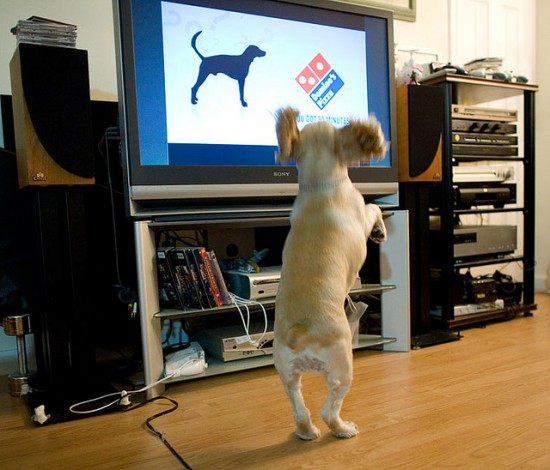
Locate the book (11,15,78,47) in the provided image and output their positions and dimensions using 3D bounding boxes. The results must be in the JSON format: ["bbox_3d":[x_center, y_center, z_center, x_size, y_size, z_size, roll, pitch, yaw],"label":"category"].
[{"bbox_3d":[-0.825,-0.728,1.804,0.193,0.121,0.156,-6,8,-27],"label":"book"}]

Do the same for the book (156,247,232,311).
[{"bbox_3d":[-0.332,0.178,2.001,0.245,0.260,0.058,-2,5,-9],"label":"book"}]

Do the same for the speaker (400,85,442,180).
[{"bbox_3d":[0.689,-0.481,2.367,0.217,0.450,0.109,-1,7,9],"label":"speaker"}]

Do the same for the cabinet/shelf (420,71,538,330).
[{"bbox_3d":[1.257,-0.202,2.967,0.544,1.371,1.369,2,8,33],"label":"cabinet/shelf"}]
